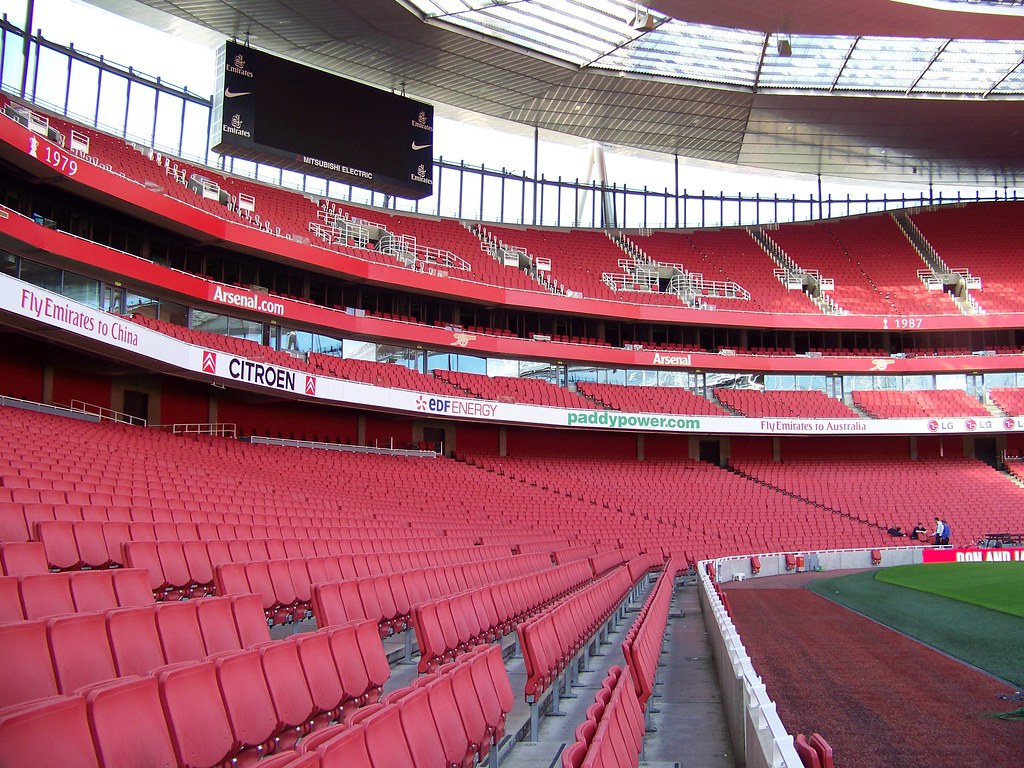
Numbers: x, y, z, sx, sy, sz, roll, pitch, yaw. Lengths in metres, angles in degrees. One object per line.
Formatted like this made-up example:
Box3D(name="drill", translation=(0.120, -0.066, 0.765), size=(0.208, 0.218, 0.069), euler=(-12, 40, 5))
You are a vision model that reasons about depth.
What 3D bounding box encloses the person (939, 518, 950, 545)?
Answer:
Box3D(name="person", translation=(12.137, 4.268, 29.417), size=(0.248, 0.633, 1.516), euler=(-3, -7, 22))
